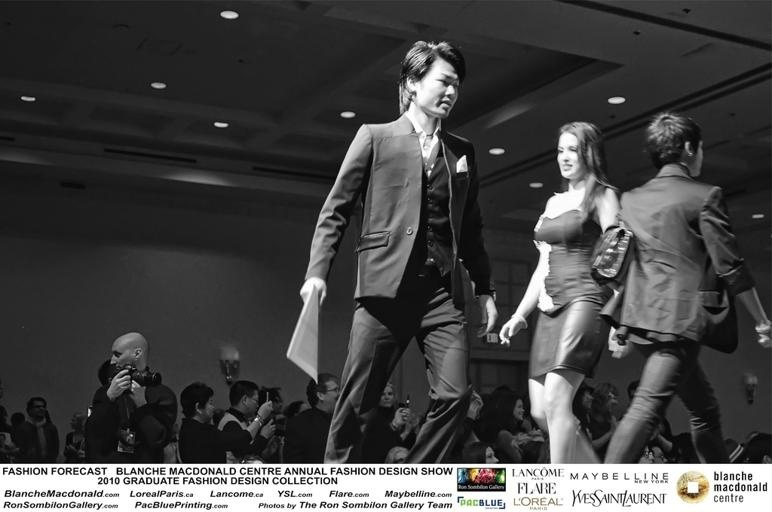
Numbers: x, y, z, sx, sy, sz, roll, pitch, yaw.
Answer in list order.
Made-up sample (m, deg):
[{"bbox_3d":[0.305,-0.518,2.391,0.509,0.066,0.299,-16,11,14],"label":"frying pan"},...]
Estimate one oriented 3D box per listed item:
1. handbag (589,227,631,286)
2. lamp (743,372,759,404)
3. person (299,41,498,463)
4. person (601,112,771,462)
[{"bbox_3d":[1.196,0.031,3.534,0.197,0.311,0.114,16,-21,19],"label":"handbag"},{"bbox_3d":[4.582,1.639,8.321,0.223,0.407,0.168,2,-3,-2],"label":"lamp"},{"bbox_3d":[0.076,-0.057,3.046,0.915,1.945,0.302,1,-8,-7],"label":"person"},{"bbox_3d":[1.519,0.106,3.475,0.819,1.873,0.459,-1,-8,12],"label":"person"}]
